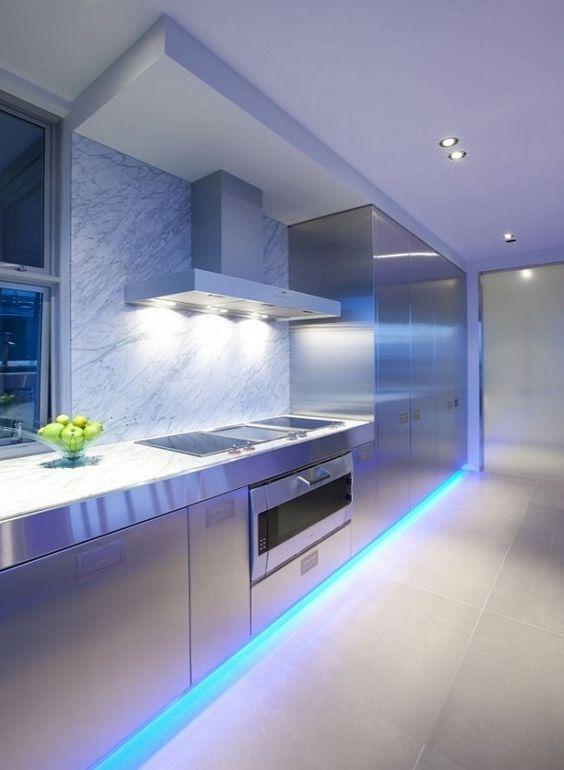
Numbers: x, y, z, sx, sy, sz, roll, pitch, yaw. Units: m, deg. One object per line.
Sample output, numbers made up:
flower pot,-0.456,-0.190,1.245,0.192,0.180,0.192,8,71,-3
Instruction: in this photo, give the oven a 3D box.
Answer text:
oven,0.003,0.626,2.382,0.375,0.638,0.705,9,15,41

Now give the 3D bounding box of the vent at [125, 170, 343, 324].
vent,-0.208,-0.720,2.498,0.873,0.579,0.468,3,3,-44

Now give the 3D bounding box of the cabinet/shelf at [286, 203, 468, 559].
cabinet/shelf,0.557,-0.050,3.147,0.523,1.817,1.840,2,6,37

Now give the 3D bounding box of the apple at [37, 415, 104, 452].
apple,-0.710,0.162,1.732,0.142,0.108,0.150,2,-2,-11
